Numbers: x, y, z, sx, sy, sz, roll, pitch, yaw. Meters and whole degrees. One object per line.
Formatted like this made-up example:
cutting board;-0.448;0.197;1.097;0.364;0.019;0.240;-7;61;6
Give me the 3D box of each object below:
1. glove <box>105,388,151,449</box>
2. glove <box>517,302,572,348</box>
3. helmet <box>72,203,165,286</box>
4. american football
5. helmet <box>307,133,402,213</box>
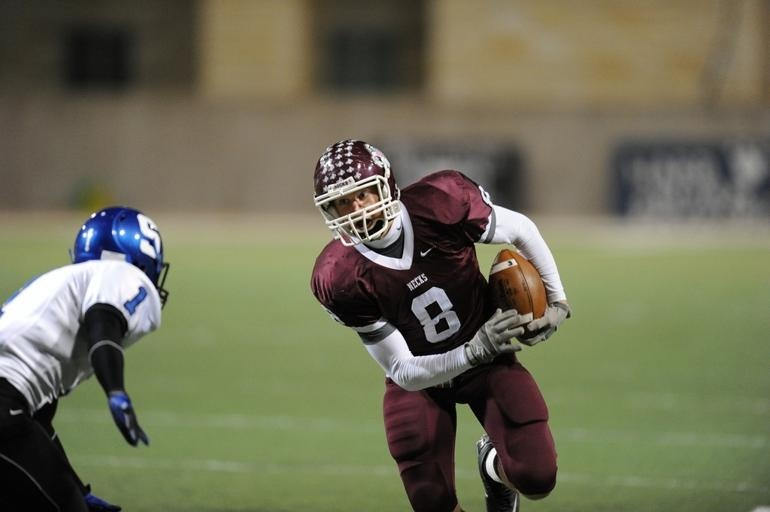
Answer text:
glove;-1.489;0.966;6.416;0.195;0.367;0.095;-20;-13;-29
glove;1.007;0.420;6.935;0.343;0.148;0.210;-35;-6;-20
helmet;-1.603;-0.074;6.735;0.407;0.552;0.548;-3;-4;39
american football;0.834;0.176;6.970;0.314;0.528;0.347;-28;-4;29
helmet;-0.209;-0.484;6.905;0.496;0.388;0.373;-26;3;-32
